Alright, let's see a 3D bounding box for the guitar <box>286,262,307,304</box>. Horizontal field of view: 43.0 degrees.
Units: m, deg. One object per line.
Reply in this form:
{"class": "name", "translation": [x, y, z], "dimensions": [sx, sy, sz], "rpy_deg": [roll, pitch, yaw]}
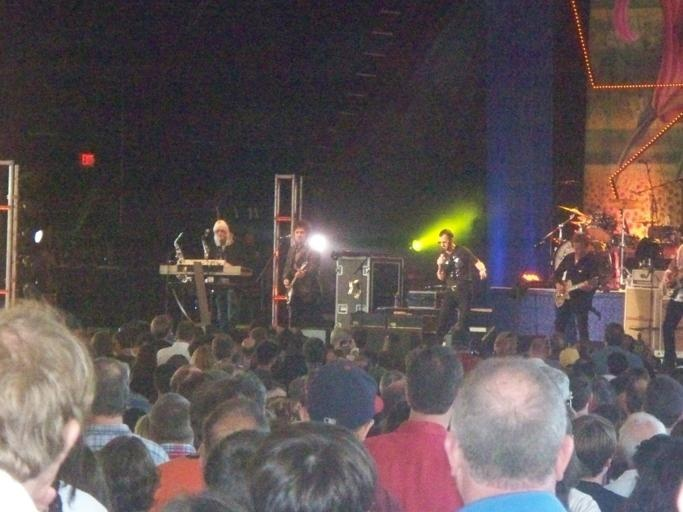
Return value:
{"class": "guitar", "translation": [-0.625, 0.379, 12.333], "dimensions": [0.223, 0.564, 0.297], "rpy_deg": [15, 9, -33]}

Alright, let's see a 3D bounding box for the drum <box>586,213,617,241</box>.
{"class": "drum", "translation": [4.137, -0.445, 13.781], "dimensions": [0.325, 0.347, 0.350], "rpy_deg": [19, 41, 19]}

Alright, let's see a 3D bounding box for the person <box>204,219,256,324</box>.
{"class": "person", "translation": [-1.669, 0.272, 12.667], "dimensions": [0.535, 1.663, 0.610], "rpy_deg": [-23, 31, -36]}

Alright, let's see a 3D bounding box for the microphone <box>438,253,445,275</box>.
{"class": "microphone", "translation": [1.537, 0.108, 13.263], "dimensions": [0.076, 0.220, 0.159], "rpy_deg": [2, 0, 8]}

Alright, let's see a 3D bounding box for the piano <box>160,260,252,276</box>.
{"class": "piano", "translation": [-1.797, 0.166, 11.505], "dimensions": [1.069, 0.217, 0.525], "rpy_deg": [2, -2, 13]}

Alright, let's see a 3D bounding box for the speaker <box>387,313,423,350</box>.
{"class": "speaker", "translation": [0.783, 1.029, 11.347], "dimensions": [0.564, 0.553, 0.311], "rpy_deg": [2, -10, -16]}

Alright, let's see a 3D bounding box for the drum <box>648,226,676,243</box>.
{"class": "drum", "translation": [4.968, -0.318, 13.418], "dimensions": [0.157, 0.208, 0.281], "rpy_deg": [5, -3, -40]}

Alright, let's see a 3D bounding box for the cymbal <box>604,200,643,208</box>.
{"class": "cymbal", "translation": [4.649, -0.841, 14.356], "dimensions": [0.270, 0.065, 0.278], "rpy_deg": [3, -14, -4]}

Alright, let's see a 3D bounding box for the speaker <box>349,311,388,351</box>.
{"class": "speaker", "translation": [0.315, 0.967, 11.134], "dimensions": [0.434, 0.676, 0.465], "rpy_deg": [-2, -3, 26]}
